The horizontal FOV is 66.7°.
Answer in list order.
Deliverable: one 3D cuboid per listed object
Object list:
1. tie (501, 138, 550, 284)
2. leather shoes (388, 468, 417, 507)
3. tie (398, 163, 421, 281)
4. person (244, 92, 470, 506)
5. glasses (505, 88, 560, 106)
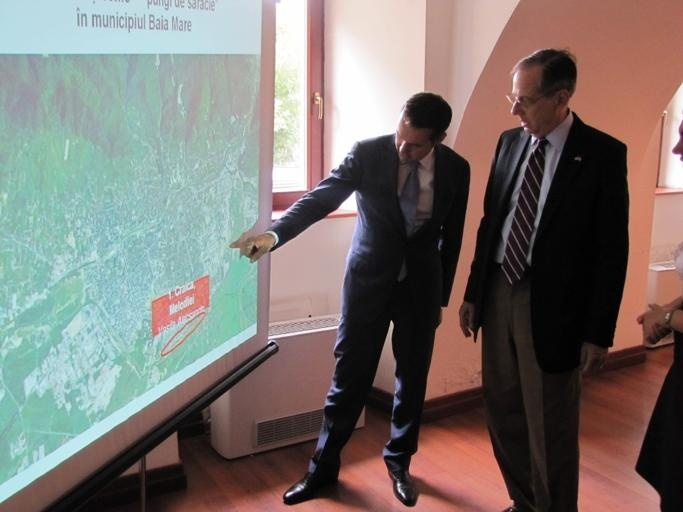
[{"bbox_3d":[0.731,-0.176,2.018,0.099,0.658,0.044,16,-24,7],"label":"tie"},{"bbox_3d":[0.299,1.097,2.493,0.065,0.080,0.189,-2,14,-13],"label":"leather shoes"},{"bbox_3d":[0.303,-0.188,2.241,0.057,0.405,0.049,2,6,-3],"label":"tie"},{"bbox_3d":[0.140,0.315,2.357,0.948,1.692,0.312,-3,11,-18],"label":"person"},{"bbox_3d":[0.690,-0.568,1.882,0.170,0.054,0.054,9,14,30],"label":"glasses"}]
